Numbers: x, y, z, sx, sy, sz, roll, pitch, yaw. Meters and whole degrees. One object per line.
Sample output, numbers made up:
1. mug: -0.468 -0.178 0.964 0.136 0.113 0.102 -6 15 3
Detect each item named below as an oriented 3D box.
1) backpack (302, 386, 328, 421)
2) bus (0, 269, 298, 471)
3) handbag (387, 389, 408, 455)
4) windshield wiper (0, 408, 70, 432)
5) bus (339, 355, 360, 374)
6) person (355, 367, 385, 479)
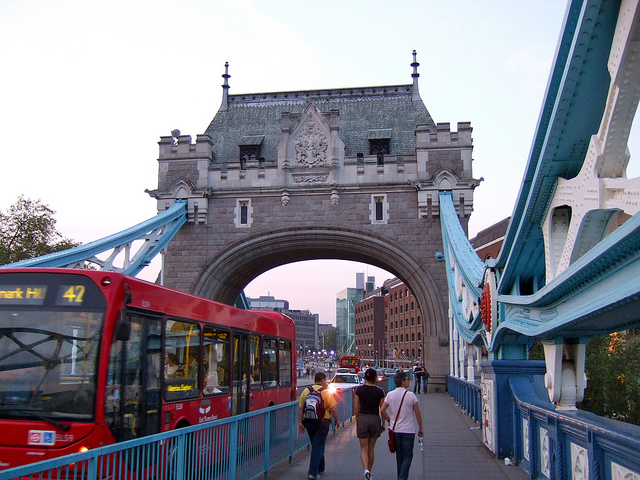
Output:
1. backpack: -0.108 2.924 10.510 0.459 0.747 0.417 -2 -34 7
2. bus: -2.702 2.465 10.993 1.882 3.095 6.416 -9 -20 25
3. handbag: 1.267 3.007 9.740 0.225 1.093 0.669 5 4 6
4. windshield wiper: -3.960 2.532 8.222 0.634 0.062 0.100 20 5 10
5. bus: 2.377 10.518 48.790 1.325 1.369 2.420 1 -6 4
6. person: 0.838 3.146 10.182 0.502 1.841 0.840 -2 -16 4
